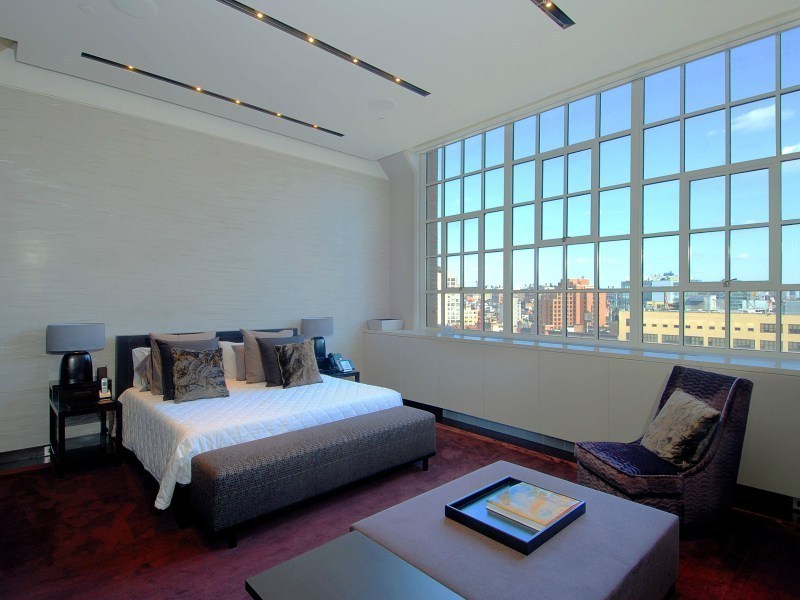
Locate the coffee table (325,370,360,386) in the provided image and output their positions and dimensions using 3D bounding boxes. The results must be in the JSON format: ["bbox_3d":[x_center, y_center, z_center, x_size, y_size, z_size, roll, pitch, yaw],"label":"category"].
[{"bbox_3d":[-0.670,0.936,6.397,0.200,0.237,0.372,-2,3,-34],"label":"coffee table"}]

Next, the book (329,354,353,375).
[{"bbox_3d":[-0.734,0.774,6.345,0.200,0.092,0.274,3,2,-39],"label":"book"}]

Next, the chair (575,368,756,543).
[{"bbox_3d":[1.988,1.114,3.944,1.122,1.087,0.755,0,3,-22],"label":"chair"}]

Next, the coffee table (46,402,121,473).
[{"bbox_3d":[-2.955,1.231,5.060,0.641,0.677,0.637,2,-4,-43],"label":"coffee table"}]
